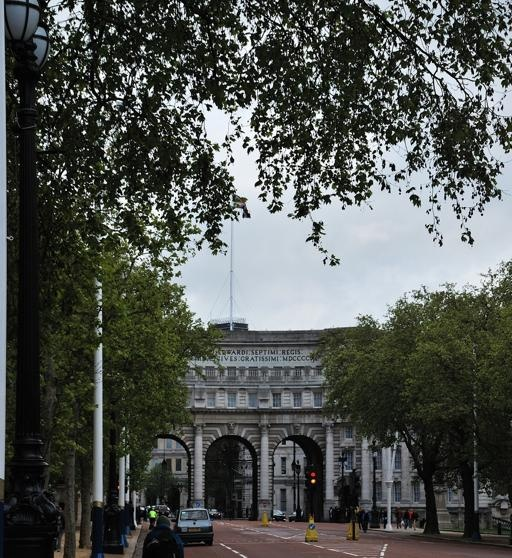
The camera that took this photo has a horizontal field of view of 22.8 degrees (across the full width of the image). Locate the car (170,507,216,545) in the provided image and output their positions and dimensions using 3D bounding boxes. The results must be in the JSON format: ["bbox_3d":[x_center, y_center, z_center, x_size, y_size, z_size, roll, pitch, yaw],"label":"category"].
[{"bbox_3d":[-2.426,10.354,50.295,1.446,1.808,3.040,-1,2,-4],"label":"car"}]

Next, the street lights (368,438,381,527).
[{"bbox_3d":[7.411,13.050,79.084,0.657,5.246,0.743,-1,2,-31],"label":"street lights"}]
